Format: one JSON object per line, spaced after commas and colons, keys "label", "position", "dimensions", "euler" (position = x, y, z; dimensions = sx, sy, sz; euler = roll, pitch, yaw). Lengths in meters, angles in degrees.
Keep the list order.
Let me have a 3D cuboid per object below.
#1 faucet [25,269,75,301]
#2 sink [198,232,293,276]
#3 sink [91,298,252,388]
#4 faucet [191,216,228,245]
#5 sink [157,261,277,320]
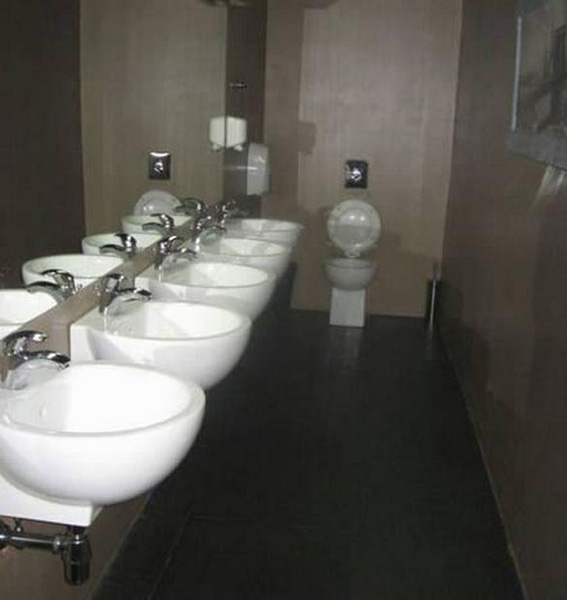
{"label": "faucet", "position": [-0.400, -0.025, 0.961], "dimensions": [0.029, 0.051, 0.147], "euler": [-11, 16, -34]}
{"label": "sink", "position": [-0.146, -0.161, 2.081], "dimensions": [0.255, 0.092, 0.184], "euler": [7, 29, 6]}
{"label": "sink", "position": [-0.231, 0.080, 1.116], "dimensions": [0.228, 0.121, 0.231], "euler": [6, 17, 8]}
{"label": "faucet", "position": [-0.255, -0.254, 1.979], "dimensions": [0.087, 0.039, 0.106], "euler": [14, 35, -1]}
{"label": "sink", "position": [-0.207, -0.041, 1.546], "dimensions": [0.244, 0.094, 0.207], "euler": [8, 23, 12]}
